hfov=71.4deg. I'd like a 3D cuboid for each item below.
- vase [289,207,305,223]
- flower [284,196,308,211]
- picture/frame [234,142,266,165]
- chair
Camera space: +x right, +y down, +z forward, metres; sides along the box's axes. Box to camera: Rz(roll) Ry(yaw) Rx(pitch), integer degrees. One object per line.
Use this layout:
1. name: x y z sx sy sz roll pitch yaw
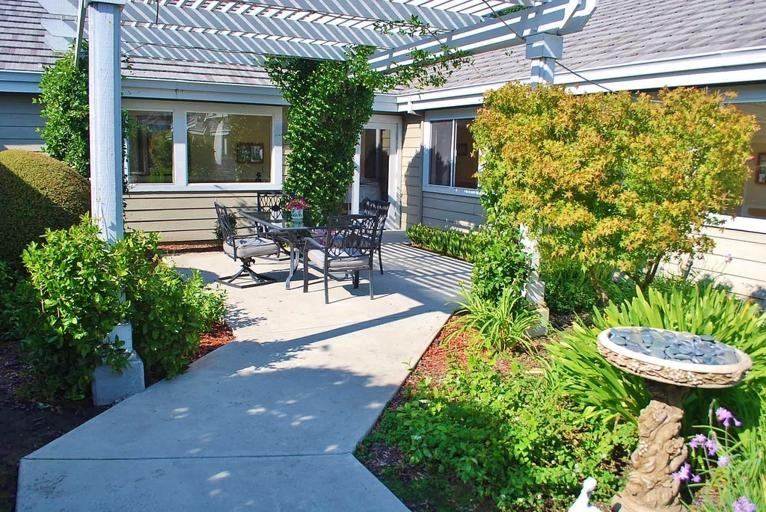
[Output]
1. vase: -1.397 -0.672 8.755 0.245 0.292 0.253 0 0 -5
2. flower: -1.470 -0.892 9.070 0.324 0.233 0.333 0 4 -4
3. picture/frame: -2.976 -2.301 11.835 0.505 0.394 0.036 -3 8 -27
4. chair: -1.080 -0.153 8.617 2.347 1.240 1.632 8 15 27
